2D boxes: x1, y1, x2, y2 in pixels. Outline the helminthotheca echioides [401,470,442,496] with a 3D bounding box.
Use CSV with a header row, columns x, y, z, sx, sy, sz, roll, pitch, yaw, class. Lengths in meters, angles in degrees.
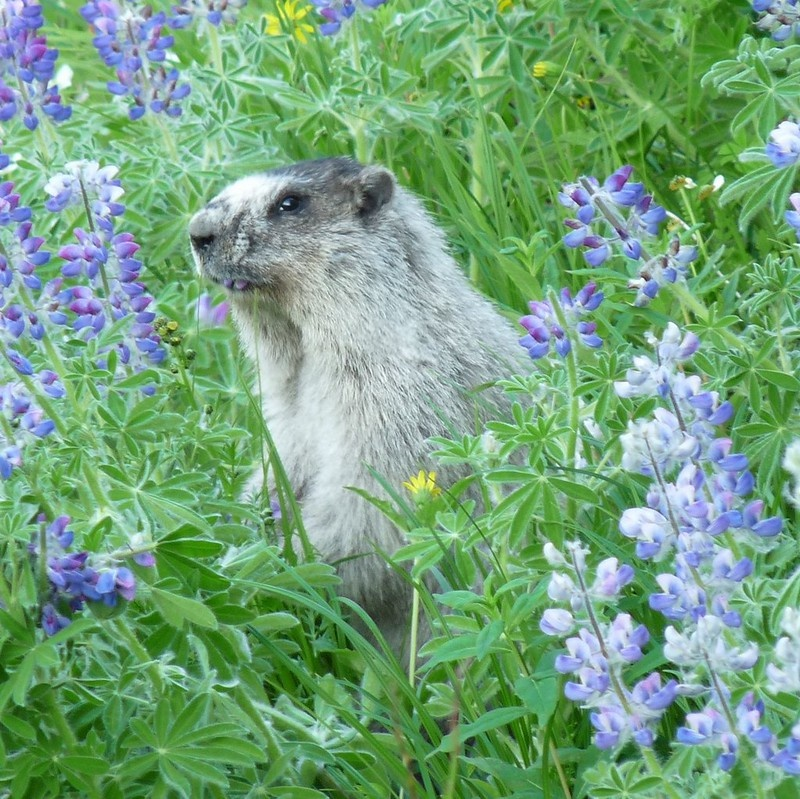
x,y,z,sx,sy,sz,roll,pitch,yaw,class
0.059,0.220,2.899,0.097,0.055,0.102,-11,1,27,helminthotheca echioides
